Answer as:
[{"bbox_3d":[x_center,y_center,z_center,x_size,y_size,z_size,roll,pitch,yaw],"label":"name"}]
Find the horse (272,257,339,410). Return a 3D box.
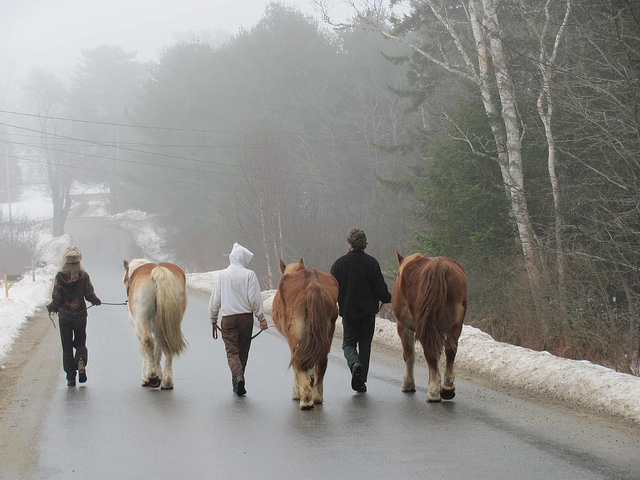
[{"bbox_3d":[-0.360,1.642,10.283,0.921,2.396,3.605,1,-4,-10],"label":"horse"}]

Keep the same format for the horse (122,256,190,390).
[{"bbox_3d":[-3.049,1.562,10.557,0.984,2.196,1.852,-3,5,-22],"label":"horse"}]

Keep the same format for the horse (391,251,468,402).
[{"bbox_3d":[1.739,1.421,9.243,0.811,2.298,1.088,-5,6,-43],"label":"horse"}]

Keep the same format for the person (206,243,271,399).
[{"bbox_3d":[-1.401,1.344,9.805,0.834,2.452,1.205,-4,6,-35],"label":"person"}]

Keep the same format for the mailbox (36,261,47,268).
[{"bbox_3d":[-21.063,1.774,42.548,0.707,0.318,2.338,-3,5,-25],"label":"mailbox"}]

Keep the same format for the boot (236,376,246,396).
[{"bbox_3d":[-1.304,2.403,9.271,0.155,0.321,0.212,-2,5,-12],"label":"boot"}]

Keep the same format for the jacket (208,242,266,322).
[{"bbox_3d":[-1.475,0.772,9.909,0.958,1.326,0.628,-1,5,1],"label":"jacket"}]

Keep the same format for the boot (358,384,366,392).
[{"bbox_3d":[0.708,2.469,9.398,0.056,0.133,0.233,8,10,16],"label":"boot"}]

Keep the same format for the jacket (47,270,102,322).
[{"bbox_3d":[-4.700,0.932,10.672,0.986,1.216,0.615,-1,21,-25],"label":"jacket"}]

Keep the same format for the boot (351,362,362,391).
[{"bbox_3d":[0.604,2.255,9.327,0.139,0.424,0.165,-1,12,-3],"label":"boot"}]
